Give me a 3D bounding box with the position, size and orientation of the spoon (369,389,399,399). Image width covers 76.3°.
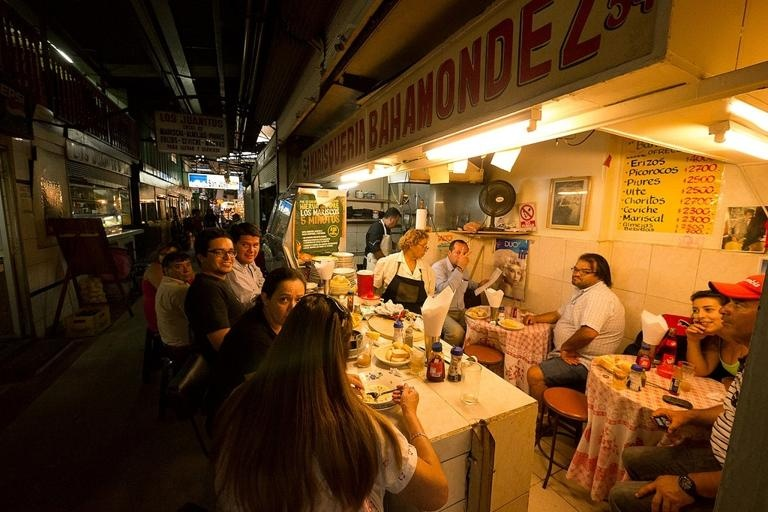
[{"bbox_3d":[0.004,1.367,4.852,0.269,0.037,0.072,-13,23,-33],"label":"spoon"}]

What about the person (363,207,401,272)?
[{"bbox_3d":[-0.056,-0.287,8.499,0.600,1.477,0.623,2,26,-14],"label":"person"}]

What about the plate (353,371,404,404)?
[{"bbox_3d":[0.015,1.355,4.917,0.359,0.092,0.429,10,24,13],"label":"plate"}]

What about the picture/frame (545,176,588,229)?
[{"bbox_3d":[2.722,-0.796,7.195,0.066,0.932,0.741,5,1,-33],"label":"picture/frame"}]

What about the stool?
[{"bbox_3d":[1.650,1.836,5.498,0.438,0.595,1.480,-6,20,-11],"label":"stool"}]

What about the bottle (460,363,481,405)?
[{"bbox_3d":[0.889,1.277,4.944,0.165,0.393,0.161,2,7,0],"label":"bottle"}]

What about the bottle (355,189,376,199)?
[{"bbox_3d":[-0.365,-1.294,10.329,0.385,0.166,0.229,6,10,-23],"label":"bottle"}]

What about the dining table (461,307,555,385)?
[{"bbox_3d":[1.709,1.122,6.936,1.054,1.041,1.041,-6,16,-34],"label":"dining table"}]

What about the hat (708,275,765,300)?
[{"bbox_3d":[3.769,0.333,5.194,0.444,0.222,0.289,2,5,14],"label":"hat"}]

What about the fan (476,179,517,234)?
[{"bbox_3d":[1.851,-0.954,7.998,0.151,0.564,0.625,-5,10,-42],"label":"fan"}]

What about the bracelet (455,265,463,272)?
[{"bbox_3d":[1.176,0.188,7.464,0.155,0.061,0.049,34,2,22],"label":"bracelet"}]

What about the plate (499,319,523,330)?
[{"bbox_3d":[1.731,0.920,6.634,0.331,0.098,0.250,0,8,-15],"label":"plate"}]

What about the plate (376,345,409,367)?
[{"bbox_3d":[0.106,1.089,5.320,0.231,0.089,0.232,-1,21,-10],"label":"plate"}]

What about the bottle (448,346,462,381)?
[{"bbox_3d":[0.760,1.121,5.180,0.151,0.362,0.152,2,7,0],"label":"bottle"}]

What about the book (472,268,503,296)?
[{"bbox_3d":[1.609,0.403,7.451,0.119,0.461,0.357,47,21,-1],"label":"book"}]

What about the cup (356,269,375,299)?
[{"bbox_3d":[-0.221,0.373,6.758,0.311,0.487,0.316,0,7,0],"label":"cup"}]

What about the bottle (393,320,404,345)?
[{"bbox_3d":[0.172,0.873,5.581,0.128,0.319,0.127,-1,21,0],"label":"bottle"}]
